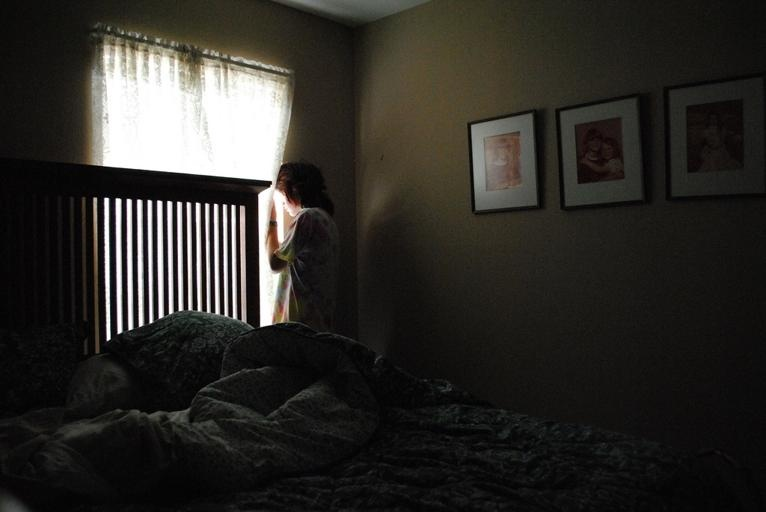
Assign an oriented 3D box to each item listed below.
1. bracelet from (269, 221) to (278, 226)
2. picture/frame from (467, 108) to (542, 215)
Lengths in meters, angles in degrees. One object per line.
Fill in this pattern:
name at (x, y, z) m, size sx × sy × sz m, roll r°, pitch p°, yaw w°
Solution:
bracelet at (-0.745, -0.219, 4.136) m, size 0.034 × 0.026 × 0.034 m, roll 0°, pitch -3°, yaw -24°
picture/frame at (0.823, -0.629, 4.066) m, size 0.671 × 0.884 × 0.035 m, roll -3°, pitch -2°, yaw 37°
